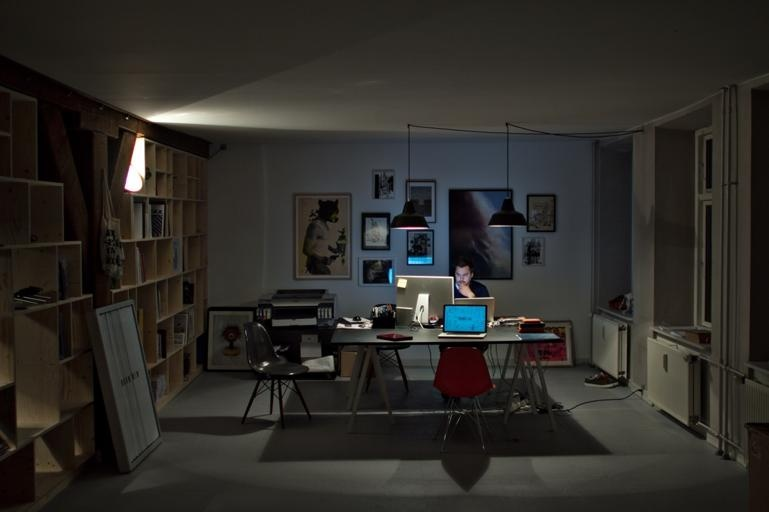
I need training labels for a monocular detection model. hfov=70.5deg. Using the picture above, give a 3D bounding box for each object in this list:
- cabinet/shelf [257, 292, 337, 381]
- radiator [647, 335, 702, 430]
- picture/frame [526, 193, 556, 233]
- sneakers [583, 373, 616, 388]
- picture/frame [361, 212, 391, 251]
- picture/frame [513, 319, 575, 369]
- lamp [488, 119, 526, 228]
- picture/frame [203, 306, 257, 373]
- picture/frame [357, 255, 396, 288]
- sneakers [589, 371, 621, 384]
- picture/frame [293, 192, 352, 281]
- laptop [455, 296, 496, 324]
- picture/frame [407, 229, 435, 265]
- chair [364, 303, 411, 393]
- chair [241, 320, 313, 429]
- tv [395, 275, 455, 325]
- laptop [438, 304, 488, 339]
[{"bbox_3d":[-1.310,1.156,8.405,1.056,1.300,0.679,-1,7,-1],"label":"cabinet/shelf"},{"bbox_3d":[3.573,1.463,6.655,0.326,0.801,0.897,-3,6,-2],"label":"radiator"},{"bbox_3d":[2.517,-0.724,8.741,0.566,0.776,0.050,0,1,-4],"label":"picture/frame"},{"bbox_3d":[3.110,1.786,7.893,0.500,0.231,0.185,2,-7,-2],"label":"sneakers"},{"bbox_3d":[-0.139,-0.427,8.747,0.532,0.726,0.049,-1,5,3],"label":"picture/frame"},{"bbox_3d":[2.727,1.408,8.810,0.692,0.762,0.047,-12,-18,43],"label":"picture/frame"},{"bbox_3d":[1.800,-1.069,7.768,0.484,1.557,2.096,2,10,14],"label":"lamp"},{"bbox_3d":[-2.303,1.272,8.229,0.904,1.173,0.087,2,-8,-3],"label":"picture/frame"},{"bbox_3d":[-0.133,0.213,8.774,0.486,0.448,0.039,0,2,-1],"label":"picture/frame"},{"bbox_3d":[3.162,1.770,7.934,0.414,0.173,0.170,2,-6,-5],"label":"sneakers"},{"bbox_3d":[-0.978,-0.321,8.736,0.884,1.323,0.313,-2,10,-10],"label":"picture/frame"},{"bbox_3d":[1.207,0.602,6.998,0.445,0.338,0.337,1,0,-2],"label":"laptop"},{"bbox_3d":[0.591,-0.174,8.761,0.516,0.736,0.026,2,-5,-1],"label":"picture/frame"},{"bbox_3d":[0.079,1.114,6.902,0.531,0.934,0.582,3,1,-14],"label":"chair"},{"bbox_3d":[-1.322,1.411,6.646,0.788,1.106,0.632,0,-1,31],"label":"chair"},{"bbox_3d":[0.524,0.566,7.055,0.733,0.562,0.321,-2,5,19],"label":"tv"},{"bbox_3d":[0.942,0.768,6.526,0.556,0.373,0.415,-1,-2,23],"label":"laptop"}]
